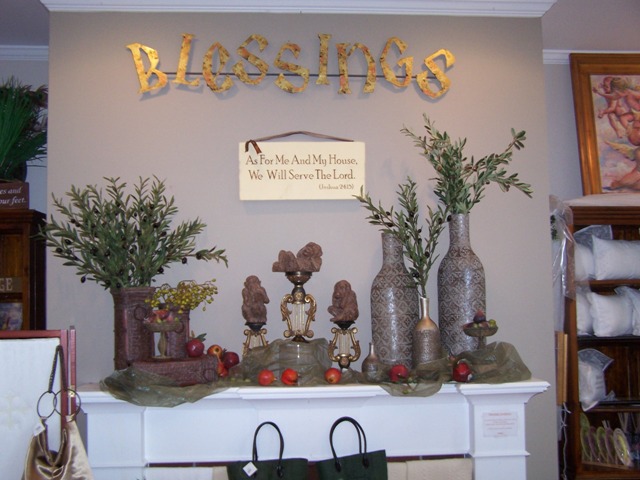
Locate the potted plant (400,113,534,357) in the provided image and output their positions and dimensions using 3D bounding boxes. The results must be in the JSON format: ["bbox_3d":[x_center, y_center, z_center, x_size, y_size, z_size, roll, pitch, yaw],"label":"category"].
[{"bbox_3d":[0.850,-0.066,4.850,0.653,1.437,0.420,-1,-4,-8],"label":"potted plant"}]

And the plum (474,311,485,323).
[{"bbox_3d":[0.877,0.428,4.653,0.071,0.062,0.113,-1,-5,-3],"label":"plum"}]

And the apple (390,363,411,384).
[{"bbox_3d":[0.428,0.726,4.543,0.081,0.103,0.091,3,3,3],"label":"apple"}]

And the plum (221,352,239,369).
[{"bbox_3d":[-0.511,0.682,4.727,0.102,0.094,0.153,-1,-5,-6],"label":"plum"}]

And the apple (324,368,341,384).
[{"bbox_3d":[0.069,0.745,4.575,0.098,0.084,0.081,0,-5,-15],"label":"apple"}]

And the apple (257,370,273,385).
[{"bbox_3d":[-0.299,0.750,4.525,0.066,0.079,0.075,8,29,19],"label":"apple"}]

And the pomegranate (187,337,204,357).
[{"bbox_3d":[-0.703,0.600,4.665,0.078,0.095,0.089,5,26,7],"label":"pomegranate"}]

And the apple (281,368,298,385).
[{"bbox_3d":[-0.170,0.742,4.518,0.071,0.089,0.079,3,-10,-2],"label":"apple"}]

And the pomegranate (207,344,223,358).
[{"bbox_3d":[-0.600,0.629,4.760,0.062,0.076,0.068,10,-14,-17],"label":"pomegranate"}]

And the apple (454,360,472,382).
[{"bbox_3d":[0.762,0.713,4.520,0.076,0.079,0.104,-3,19,-16],"label":"apple"}]
